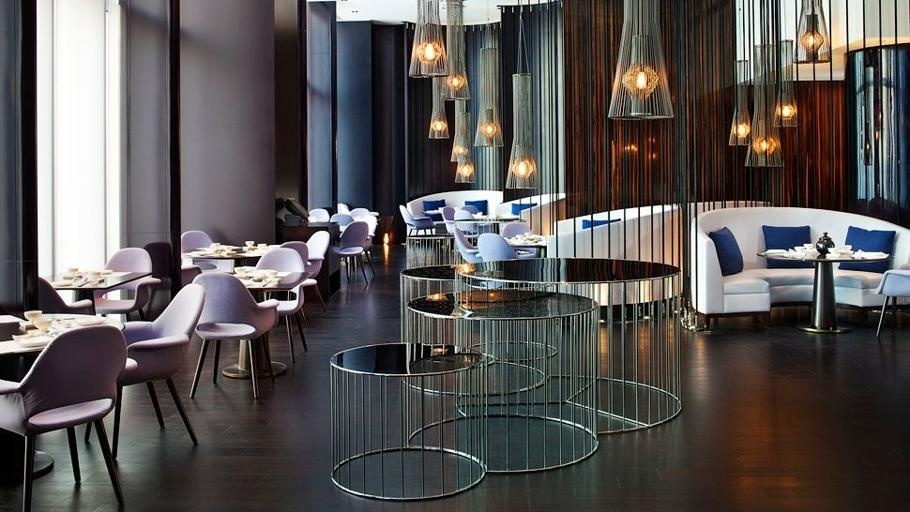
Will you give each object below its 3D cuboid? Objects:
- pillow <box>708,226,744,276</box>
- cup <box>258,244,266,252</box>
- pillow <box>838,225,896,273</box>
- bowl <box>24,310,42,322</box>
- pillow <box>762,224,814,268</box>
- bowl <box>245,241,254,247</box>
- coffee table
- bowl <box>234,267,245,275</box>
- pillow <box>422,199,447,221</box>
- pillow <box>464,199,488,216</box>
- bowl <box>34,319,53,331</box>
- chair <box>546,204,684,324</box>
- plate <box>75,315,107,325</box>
[{"bbox_3d":[3.697,-0.044,10.885,0.312,0.531,0.625,13,12,39],"label":"pillow"},{"bbox_3d":[-2.641,-0.104,10.861,0.130,0.095,0.130,2,1,0],"label":"cup"},{"bbox_3d":[5.646,-0.062,10.834,0.219,0.583,0.611,20,-9,-31],"label":"pillow"},{"bbox_3d":[-3.702,0.536,7.006,0.131,0.088,0.131,0,-3,0],"label":"bowl"},{"bbox_3d":[4.624,-0.118,11.044,0.562,0.536,0.199,-1,-8,3],"label":"pillow"},{"bbox_3d":[-2.920,-0.168,11.360,0.096,0.064,0.097,-2,-2,0],"label":"bowl"},{"bbox_3d":[4.820,0.425,10.363,1.386,1.111,0.557,-2,6,16],"label":"coffee table"},{"bbox_3d":[-2.495,0.183,9.277,0.108,0.066,0.107,1,-3,0],"label":"bowl"},{"bbox_3d":[-0.499,-1.084,19.466,0.589,0.573,0.210,0,-32,-14],"label":"pillow"},{"bbox_3d":[0.536,-1.148,19.320,0.510,0.507,0.191,3,7,19],"label":"pillow"},{"bbox_3d":[-3.598,0.600,6.962,0.106,0.064,0.108,1,3,0],"label":"bowl"},{"bbox_3d":[2.307,0.119,10.677,1.758,1.485,1.760,1,0,-5],"label":"chair"},{"bbox_3d":[-3.269,0.581,7.168,0.255,0.057,0.269,-6,6,-23],"label":"plate"}]
